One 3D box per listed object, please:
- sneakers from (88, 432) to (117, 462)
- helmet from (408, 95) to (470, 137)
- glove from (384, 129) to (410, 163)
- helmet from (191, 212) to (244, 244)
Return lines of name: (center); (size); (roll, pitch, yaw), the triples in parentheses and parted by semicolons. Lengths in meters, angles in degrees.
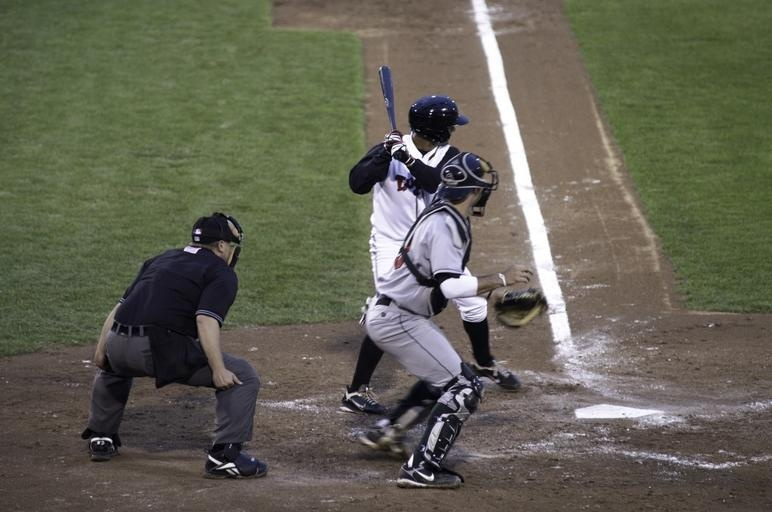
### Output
sneakers: (-3.328, 2.252, 16.235); (0.238, 0.148, 0.393); (1, 9, -11)
helmet: (0.602, -1.752, 17.296); (0.823, 0.479, 0.436); (2, 45, -1)
glove: (0.124, -1.373, 17.122); (0.290, 0.162, 0.411); (32, 20, -44)
helmet: (-1.991, -0.334, 16.411); (0.570, 0.273, 0.400); (1, 13, -27)
